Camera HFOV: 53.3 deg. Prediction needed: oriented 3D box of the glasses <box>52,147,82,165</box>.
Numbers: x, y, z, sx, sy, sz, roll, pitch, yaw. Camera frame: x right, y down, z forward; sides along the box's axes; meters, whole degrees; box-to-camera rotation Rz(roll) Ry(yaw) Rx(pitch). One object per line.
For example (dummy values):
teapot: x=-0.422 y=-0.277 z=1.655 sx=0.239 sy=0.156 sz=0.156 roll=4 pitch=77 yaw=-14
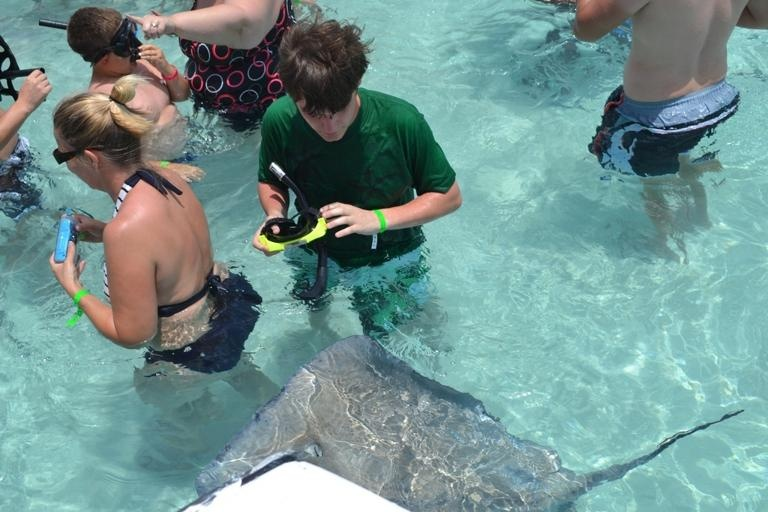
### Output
glasses: x=-2.009 y=-0.649 z=4.855 sx=0.124 sy=0.036 sz=0.119 roll=-36 pitch=34 yaw=-23

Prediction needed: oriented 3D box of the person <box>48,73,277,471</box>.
person: x=-1.557 y=0.181 z=5.363 sx=1.265 sy=2.797 sz=1.026 roll=20 pitch=61 yaw=8

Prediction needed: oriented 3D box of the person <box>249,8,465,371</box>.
person: x=-0.207 y=-0.479 z=5.255 sx=1.185 sy=1.860 sz=1.447 roll=-35 pitch=63 yaw=-20

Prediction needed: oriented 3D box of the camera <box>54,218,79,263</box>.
camera: x=-2.135 y=-0.112 z=5.103 sx=0.071 sy=0.148 sz=0.286 roll=-7 pitch=71 yaw=43

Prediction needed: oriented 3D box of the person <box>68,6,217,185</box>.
person: x=-1.765 y=-1.183 z=5.682 sx=0.636 sy=1.671 sz=0.690 roll=-5 pitch=67 yaw=18

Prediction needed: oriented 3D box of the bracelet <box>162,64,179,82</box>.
bracelet: x=-1.749 y=-1.531 z=6.284 sx=0.124 sy=0.049 sz=0.130 roll=-8 pitch=55 yaw=17

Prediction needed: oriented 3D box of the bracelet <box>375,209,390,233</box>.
bracelet: x=-0.014 y=-0.242 z=5.118 sx=0.037 sy=0.128 sz=0.126 roll=-25 pitch=60 yaw=-11

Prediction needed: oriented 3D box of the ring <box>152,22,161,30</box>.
ring: x=-1.663 y=-1.692 z=5.571 sx=0.067 sy=0.050 sz=0.035 roll=-19 pitch=87 yaw=-39
